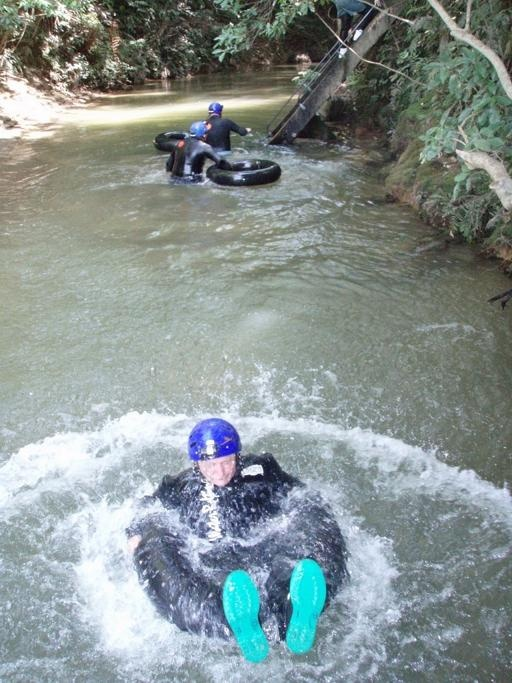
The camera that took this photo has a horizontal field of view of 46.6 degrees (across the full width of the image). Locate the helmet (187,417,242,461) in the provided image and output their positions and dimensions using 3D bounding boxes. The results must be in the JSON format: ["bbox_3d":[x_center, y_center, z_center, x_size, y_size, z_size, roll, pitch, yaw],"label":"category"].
[{"bbox_3d":[-0.229,0.545,3.418,0.256,0.244,0.153,-10,81,-30],"label":"helmet"}]

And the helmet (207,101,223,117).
[{"bbox_3d":[-0.896,-5.123,13.200,0.273,0.275,0.287,-3,27,-13],"label":"helmet"}]

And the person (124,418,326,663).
[{"bbox_3d":[-0.175,1.112,3.208,0.908,0.497,1.172,-5,35,-12],"label":"person"}]

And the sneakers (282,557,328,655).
[{"bbox_3d":[0.231,1.241,2.831,0.215,0.127,0.415,22,68,11],"label":"sneakers"}]

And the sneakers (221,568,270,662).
[{"bbox_3d":[-0.085,1.311,2.871,0.215,0.098,0.404,-10,65,-26],"label":"sneakers"}]
